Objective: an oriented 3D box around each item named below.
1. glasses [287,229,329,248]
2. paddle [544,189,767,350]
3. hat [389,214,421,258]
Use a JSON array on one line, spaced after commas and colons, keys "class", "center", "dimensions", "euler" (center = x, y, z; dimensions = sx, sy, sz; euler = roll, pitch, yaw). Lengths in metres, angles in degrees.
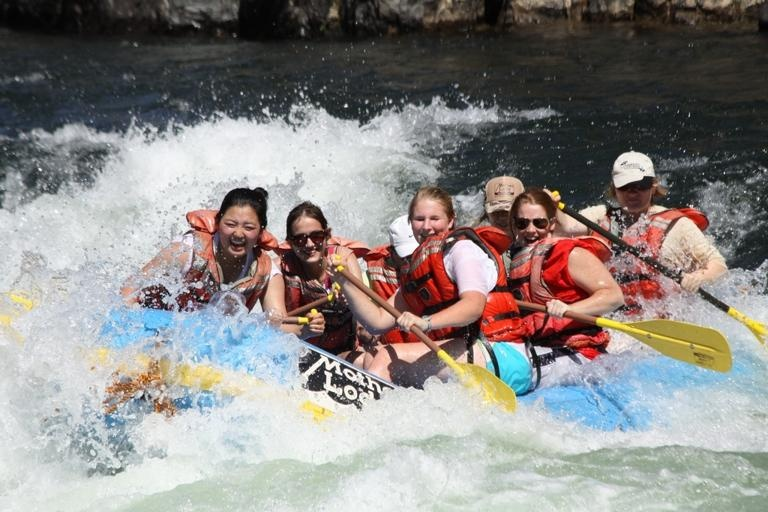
[{"class": "glasses", "center": [-0.787, -0.188, 8.797], "dimensions": [0.403, 0.156, 0.130], "euler": [-9, 38, -9]}, {"class": "paddle", "center": [3.084, 0.218, 9.385], "dimensions": [2.562, 0.467, 0.288], "euler": [36, 49, 9]}, {"class": "hat", "center": [0.180, -0.241, 9.098], "dimensions": [0.273, 0.290, 0.424], "euler": [-23, 33, -10]}]
